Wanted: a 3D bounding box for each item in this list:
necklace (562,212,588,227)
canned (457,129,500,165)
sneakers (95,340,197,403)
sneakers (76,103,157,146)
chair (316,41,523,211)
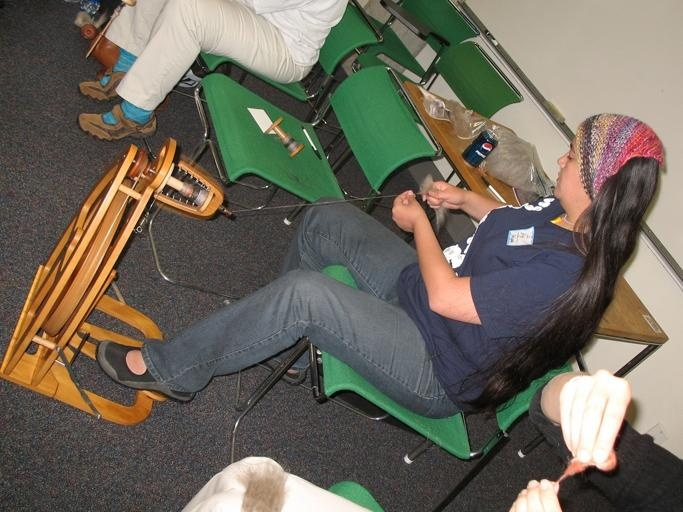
[{"bbox_3d":[0.825,-0.128,1.906,0.056,0.049,0.045,12,36,18],"label":"necklace"},{"bbox_3d":[0.758,-0.584,2.884,0.116,0.192,0.119,-18,62,-40],"label":"canned"},{"bbox_3d":[-0.780,0.468,2.183,0.474,0.133,0.174,26,32,-20],"label":"sneakers"},{"bbox_3d":[-1.179,-0.689,2.908,0.419,0.198,0.191,-1,57,-20],"label":"sneakers"},{"bbox_3d":[0.383,-0.642,2.800,0.506,0.854,0.623,44,77,0],"label":"chair"}]
